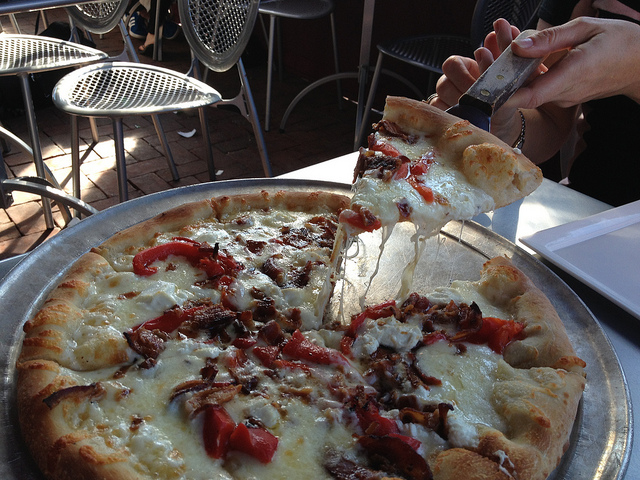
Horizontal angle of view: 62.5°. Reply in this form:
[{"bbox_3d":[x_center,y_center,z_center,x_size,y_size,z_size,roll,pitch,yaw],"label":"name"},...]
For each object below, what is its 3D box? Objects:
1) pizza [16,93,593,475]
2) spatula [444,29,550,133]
[{"bbox_3d":[-0.034,0.200,1.538,1.562,0.497,1.055,-6,62,-9],"label":"pizza"},{"bbox_3d":[0.563,-0.530,1.644,0.182,0.086,0.492,28,59,26],"label":"spatula"}]
